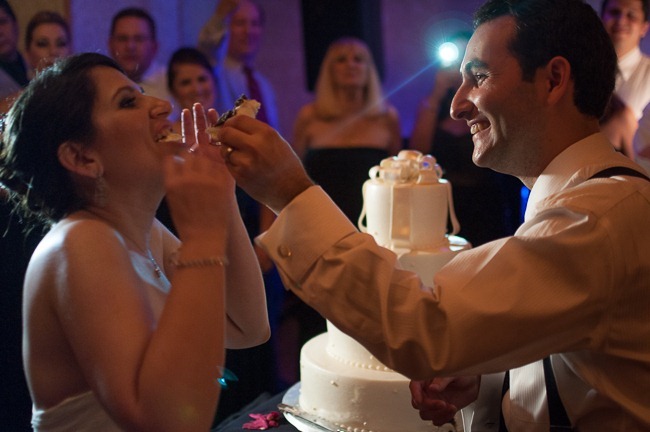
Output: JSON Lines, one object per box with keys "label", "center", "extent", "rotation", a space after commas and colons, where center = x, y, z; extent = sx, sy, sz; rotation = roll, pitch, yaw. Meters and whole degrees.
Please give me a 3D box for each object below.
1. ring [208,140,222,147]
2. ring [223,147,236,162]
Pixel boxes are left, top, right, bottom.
{"label": "ring", "center": [-0.511, -0.337, 3.556], "extent": [0.052, 0.026, 0.061], "rotation": [-2, 2, -43]}
{"label": "ring", "center": [-0.420, -0.264, 3.328], "extent": [0.051, 0.041, 0.053], "rotation": [-1, -7, 0]}
